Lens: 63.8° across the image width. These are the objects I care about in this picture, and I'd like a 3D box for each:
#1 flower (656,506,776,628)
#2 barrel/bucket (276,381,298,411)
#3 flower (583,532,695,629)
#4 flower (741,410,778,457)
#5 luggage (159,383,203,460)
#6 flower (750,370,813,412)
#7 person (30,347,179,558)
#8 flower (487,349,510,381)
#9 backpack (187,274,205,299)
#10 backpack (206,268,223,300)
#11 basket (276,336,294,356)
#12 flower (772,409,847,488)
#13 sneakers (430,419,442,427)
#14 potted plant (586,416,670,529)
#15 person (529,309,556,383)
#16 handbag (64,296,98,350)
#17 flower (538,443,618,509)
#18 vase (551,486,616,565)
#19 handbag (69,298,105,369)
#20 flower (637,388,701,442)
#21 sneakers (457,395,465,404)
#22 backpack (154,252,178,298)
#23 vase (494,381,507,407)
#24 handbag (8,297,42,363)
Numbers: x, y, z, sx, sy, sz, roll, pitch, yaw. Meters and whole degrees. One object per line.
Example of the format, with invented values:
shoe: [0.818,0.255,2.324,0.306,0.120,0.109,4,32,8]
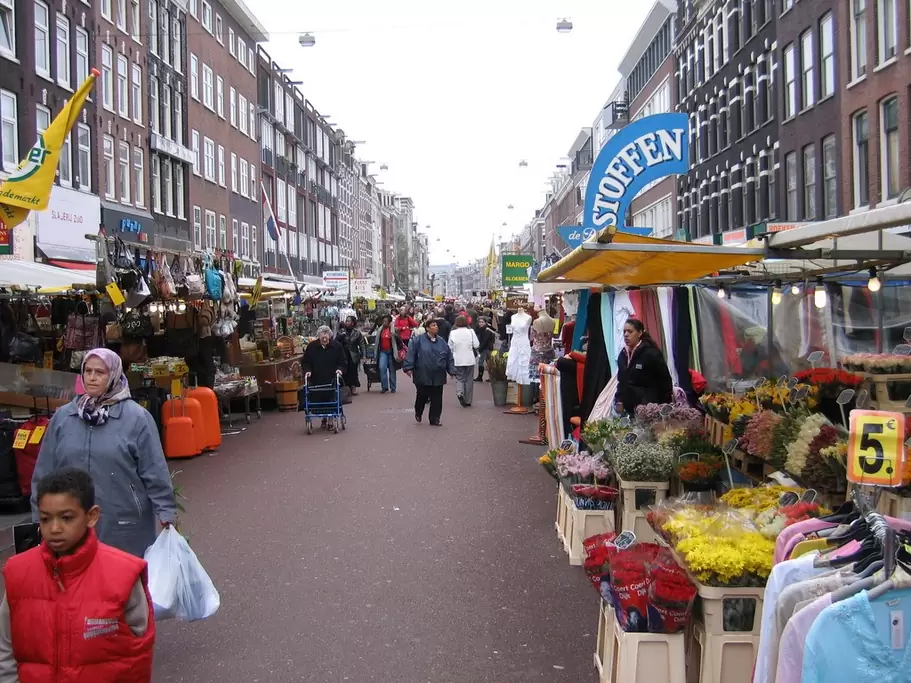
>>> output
flower: [1.617,1.415,4.639,0.441,0.263,0.629,1,-1,2]
barrel/bucket: [-4.288,1.372,18.705,0.544,0.582,0.414,-1,0,-24]
flower: [1.106,1.418,4.595,0.494,0.309,0.784,3,14,-14]
flower: [2.624,0.789,6.281,0.156,0.393,0.282,29,-24,-19]
luggage: [-4.624,1.359,12.451,0.618,1.162,0.598,0,22,-17]
flower: [3.104,0.503,7.000,0.329,0.295,0.423,0,3,4]
person: [-2.378,1.007,5.005,0.890,2.125,0.510,2,23,-16]
flower: [1.107,0.646,18.885,0.545,0.795,0.584,0,-6,5]
backpack: [-4.124,-0.862,11.686,0.284,0.314,0.504,1,-11,-14]
backpack: [-4.082,-0.957,12.382,0.170,0.520,0.461,-1,3,10]
basket: [-4.707,0.155,20.140,0.347,0.567,0.753,-1,2,2]
flower: [2.649,0.782,5.531,0.375,0.199,0.531,-1,40,41]
sneakers: [-0.400,1.704,15.321,0.265,0.118,0.397,-1,0,-5]
potted plant: [1.662,1.418,7.494,0.540,1.045,1.645,16,-13,21]
person: [1.948,0.099,16.135,0.523,1.844,0.429,-1,32,2]
handbag: [-5.473,-0.254,10.734,0.427,0.730,0.571,-1,0,-42]
flower: [1.162,1.315,7.399,0.596,0.378,0.450,-1,11,43]
vase: [1.225,1.585,7.224,0.548,0.778,1.029,-2,8,-3]
handbag: [-5.414,-0.057,10.742,0.481,1.084,0.301,2,-17,-24]
flower: [2.262,0.809,7.725,0.416,0.301,0.488,-3,13,-10]
sneakers: [0.167,1.498,18.629,0.088,0.245,0.326,-1,0,-27]
backpack: [-4.280,-0.970,10.788,0.268,0.580,0.406,-1,0,-24]
vase: [1.139,1.302,18.460,0.384,0.643,0.373,0,0,6]
handbag: [-6.199,-0.157,10.563,0.406,0.901,1.670,-1,0,-30]
